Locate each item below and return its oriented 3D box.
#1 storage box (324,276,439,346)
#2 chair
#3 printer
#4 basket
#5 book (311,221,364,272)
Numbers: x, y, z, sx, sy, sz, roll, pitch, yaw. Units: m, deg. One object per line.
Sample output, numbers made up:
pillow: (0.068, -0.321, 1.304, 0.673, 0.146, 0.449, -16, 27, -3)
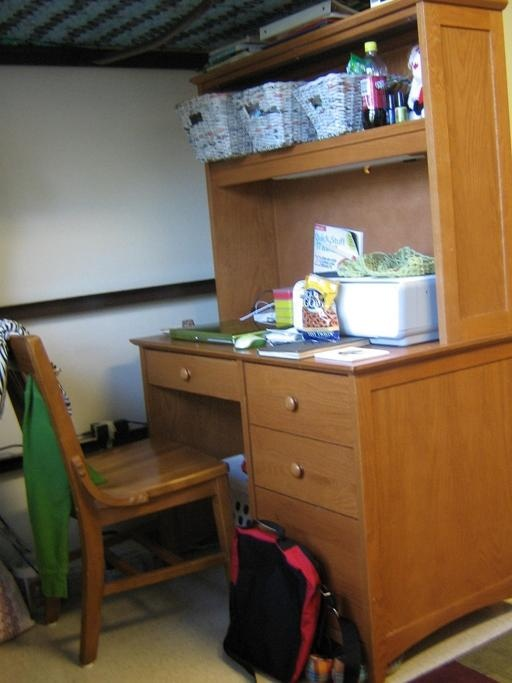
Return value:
storage box: (0.276, -0.072, 1.243, 0.175, 0.105, 0.177, 5, 11, 42)
chair: (-0.401, 0.262, 1.875, 0.791, 1.073, 0.740, -11, 14, -28)
printer: (0.283, -0.069, 1.240, 0.176, 0.104, 0.177, 3, 12, 42)
basket: (0.060, -0.605, 1.517, 0.288, 0.138, 0.414, -16, 9, -36)
book: (0.262, -0.300, 1.752, 0.025, 0.153, 0.214, -9, 13, -32)
